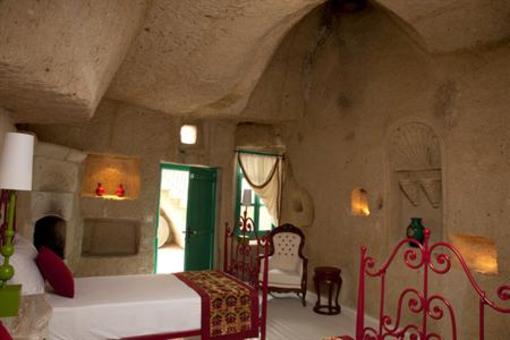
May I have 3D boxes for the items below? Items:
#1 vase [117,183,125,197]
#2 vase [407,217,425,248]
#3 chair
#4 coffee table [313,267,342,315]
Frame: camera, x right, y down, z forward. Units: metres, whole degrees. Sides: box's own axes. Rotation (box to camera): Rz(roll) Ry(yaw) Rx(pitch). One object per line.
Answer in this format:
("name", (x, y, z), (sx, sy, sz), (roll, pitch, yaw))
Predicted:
("vase", (-2.323, 0.337, 7.396), (0.131, 0.201, 0.221), (-1, 11, -16))
("vase", (2.410, 0.906, 6.297), (0.275, 0.423, 0.285), (-7, -3, 2))
("chair", (0.524, 1.535, 7.203), (0.820, 1.275, 0.830), (0, -7, 30))
("coffee table", (1.156, 1.930, 6.932), (0.487, 0.675, 0.495), (8, -11, -35))
